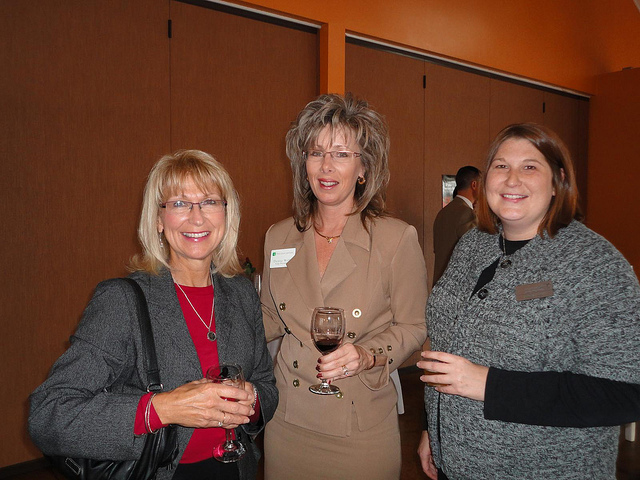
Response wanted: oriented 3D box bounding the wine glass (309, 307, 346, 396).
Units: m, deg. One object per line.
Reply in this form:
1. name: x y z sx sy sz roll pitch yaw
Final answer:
1. wine glass: 0.035 0.527 2.533 0.162 0.448 0.200 0 11 3

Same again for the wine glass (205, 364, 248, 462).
1. wine glass: -0.390 0.737 2.267 0.160 0.490 0.243 -2 11 -9

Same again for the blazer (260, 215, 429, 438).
1. blazer: 0.044 0.401 2.841 1.008 1.114 0.672 6 8 29

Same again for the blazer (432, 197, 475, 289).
1. blazer: 1.349 0.053 5.572 0.387 0.941 0.720 2 12 11

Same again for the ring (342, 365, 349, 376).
1. ring: 0.107 0.578 2.391 0.026 0.031 0.030 42 -1 -39
